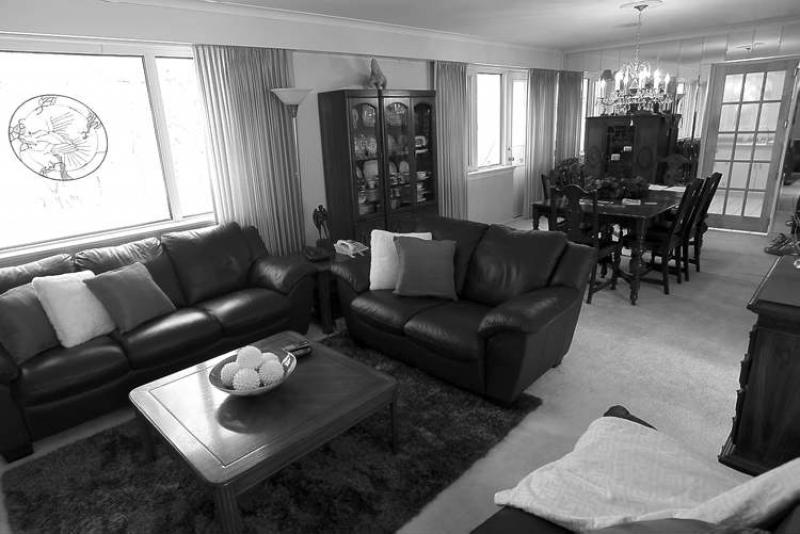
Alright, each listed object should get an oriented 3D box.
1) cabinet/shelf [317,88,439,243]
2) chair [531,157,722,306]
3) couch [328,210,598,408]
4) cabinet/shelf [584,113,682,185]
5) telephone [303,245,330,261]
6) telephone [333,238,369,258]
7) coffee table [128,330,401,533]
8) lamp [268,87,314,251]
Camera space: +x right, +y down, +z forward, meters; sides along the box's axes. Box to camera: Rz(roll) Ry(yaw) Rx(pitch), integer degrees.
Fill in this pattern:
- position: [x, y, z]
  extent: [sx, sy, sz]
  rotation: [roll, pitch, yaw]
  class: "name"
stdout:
- position: [-0.319, -1.184, 6.310]
  extent: [0.651, 2.131, 1.453]
  rotation: [14, 25, 38]
  class: "cabinet/shelf"
- position: [2.419, -0.456, 6.180]
  extent: [1.574, 1.096, 2.018]
  rotation: [14, 27, 39]
  class: "chair"
- position: [0.506, 0.248, 5.064]
  extent: [2.185, 1.145, 1.343]
  rotation: [13, 23, 40]
  class: "couch"
- position: [3.488, -1.778, 8.563]
  extent: [1.183, 1.146, 0.438]
  rotation: [12, 21, 40]
  class: "cabinet/shelf"
- position: [-0.825, -0.133, 5.446]
  extent: [0.170, 0.067, 0.176]
  rotation: [-9, 30, -21]
  class: "telephone"
- position: [-0.494, -0.226, 5.674]
  extent: [0.230, 0.076, 0.228]
  rotation: [13, 19, 33]
  class: "telephone"
- position: [-1.117, 0.865, 3.763]
  extent: [1.229, 0.575, 1.260]
  rotation: [-25, 29, -39]
  class: "coffee table"
- position: [-1.148, -0.996, 6.052]
  extent: [0.468, 1.874, 0.447]
  rotation: [0, 17, -2]
  class: "lamp"
